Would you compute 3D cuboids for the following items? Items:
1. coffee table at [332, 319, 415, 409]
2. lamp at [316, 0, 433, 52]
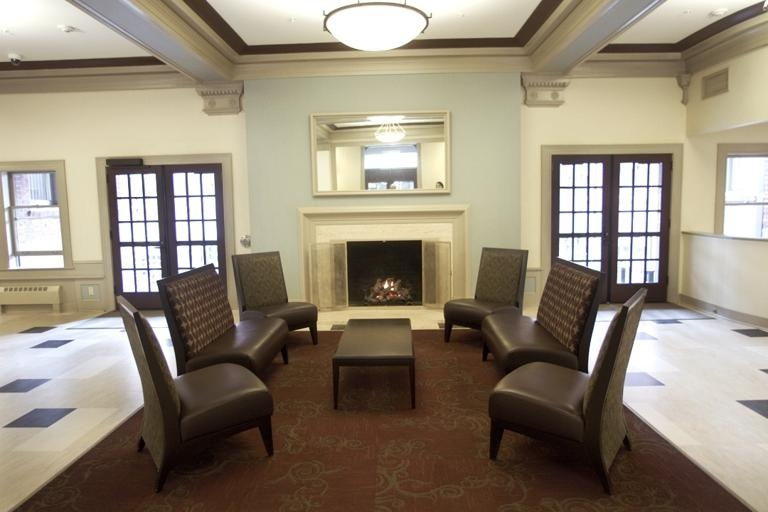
[{"bbox_3d":[-0.105,1.047,5.948,0.785,0.467,1.342,0,7,3],"label":"coffee table"},{"bbox_3d":[-0.122,-2.869,6.403,0.939,0.291,0.912,-2,4,-23],"label":"lamp"}]
